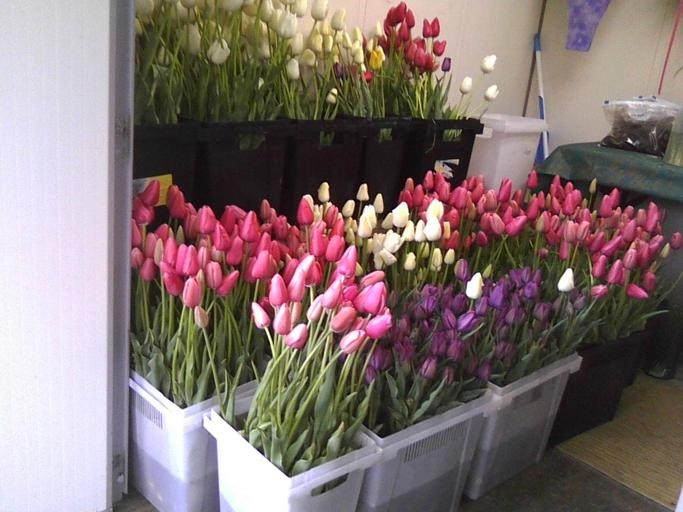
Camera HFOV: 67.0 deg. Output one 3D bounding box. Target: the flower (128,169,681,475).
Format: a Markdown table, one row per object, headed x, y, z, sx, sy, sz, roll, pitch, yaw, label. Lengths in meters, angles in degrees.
| x | y | z | sx | sy | sz | roll | pitch | yaw | label |
| --- | --- | --- | --- | --- | --- | --- | --- | --- | --- |
| 0.189 | 0.081 | 1.286 | 1.141 | 0.398 | 0.706 | -15 | 40 | -44 | flower |
